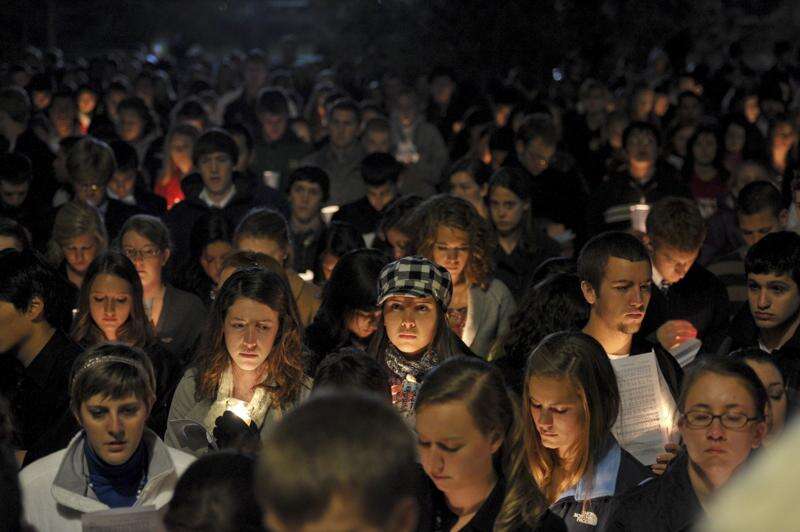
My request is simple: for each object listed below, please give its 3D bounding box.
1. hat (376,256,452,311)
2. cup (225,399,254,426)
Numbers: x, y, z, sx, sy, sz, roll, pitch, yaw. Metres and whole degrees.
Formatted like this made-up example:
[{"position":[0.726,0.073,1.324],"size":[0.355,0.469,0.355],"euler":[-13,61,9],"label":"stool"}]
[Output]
[{"position":[0.145,0.102,10.737],"size":[0.759,0.325,0.824],"euler":[4,4,-2],"label":"hat"},{"position":[-1.413,1.284,10.196],"size":[0.183,0.228,0.365],"euler":[11,-12,-35],"label":"cup"}]
